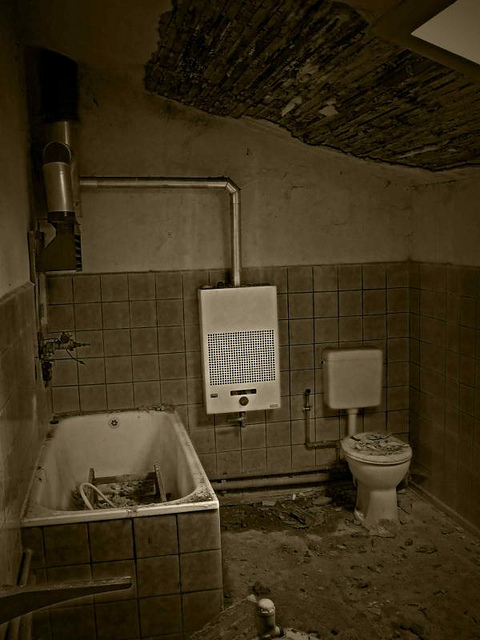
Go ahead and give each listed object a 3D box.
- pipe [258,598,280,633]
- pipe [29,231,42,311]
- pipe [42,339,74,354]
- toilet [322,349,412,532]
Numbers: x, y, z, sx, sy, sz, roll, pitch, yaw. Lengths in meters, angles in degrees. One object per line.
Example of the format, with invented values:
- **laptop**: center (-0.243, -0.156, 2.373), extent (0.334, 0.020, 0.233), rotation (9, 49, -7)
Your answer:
- **pipe**: center (0.040, 0.413, 0.733), extent (0.032, 0.056, 0.031), rotation (-4, 6, -15)
- **pipe**: center (-0.904, -0.268, 2.358), extent (0.046, 0.215, 0.042), rotation (-1, -3, -21)
- **pipe**: center (-0.855, 0.124, 2.491), extent (0.137, 0.056, 0.096), rotation (-5, 6, -24)
- **toilet**: center (0.697, 0.616, 2.887), extent (0.334, 0.854, 0.679), rotation (-2, 5, -7)
